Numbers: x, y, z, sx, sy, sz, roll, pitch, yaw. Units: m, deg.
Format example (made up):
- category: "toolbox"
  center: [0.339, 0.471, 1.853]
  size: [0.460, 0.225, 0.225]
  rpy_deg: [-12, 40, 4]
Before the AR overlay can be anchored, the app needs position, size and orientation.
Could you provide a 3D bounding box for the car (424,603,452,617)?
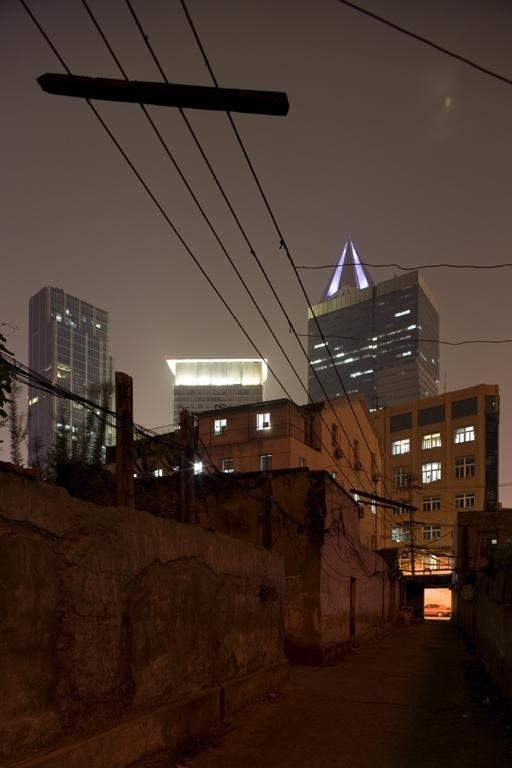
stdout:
- category: "car"
  center: [11.995, 14.984, 61.333]
  size: [2.255, 1.008, 1.095]
  rpy_deg: [1, -13, 21]
